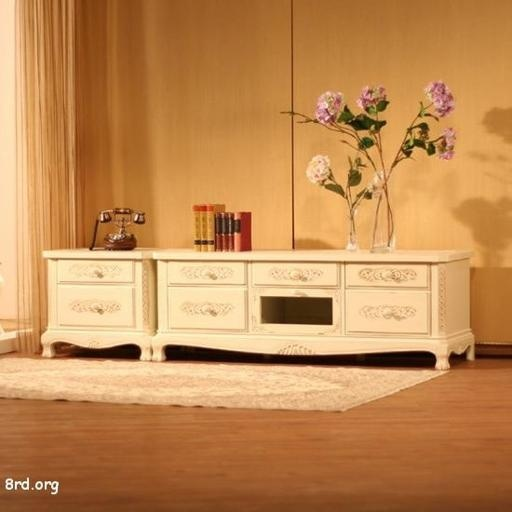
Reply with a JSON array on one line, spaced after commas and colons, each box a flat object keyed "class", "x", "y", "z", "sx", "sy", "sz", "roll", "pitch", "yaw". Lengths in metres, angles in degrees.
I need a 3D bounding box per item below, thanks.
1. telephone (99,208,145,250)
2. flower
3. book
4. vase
[{"class": "telephone", "x": -0.783, "y": -0.164, "z": 3.488, "sx": 0.306, "sy": 0.225, "sz": 0.154, "roll": 1, "pitch": 16, "yaw": 17}, {"class": "flower", "x": 0.639, "y": -0.525, "z": 3.313, "sx": 0.920, "sy": 0.976, "sz": 0.602, "roll": 0, "pitch": 1, "yaw": 16}, {"class": "book", "x": -0.179, "y": -0.154, "z": 3.359, "sx": 0.405, "sy": 0.326, "sz": 0.267, "roll": 3, "pitch": 7, "yaw": 25}, {"class": "vase", "x": 0.632, "y": -0.255, "z": 3.279, "sx": 0.251, "sy": 0.461, "sz": 0.394, "roll": -1, "pitch": 1, "yaw": 9}]
